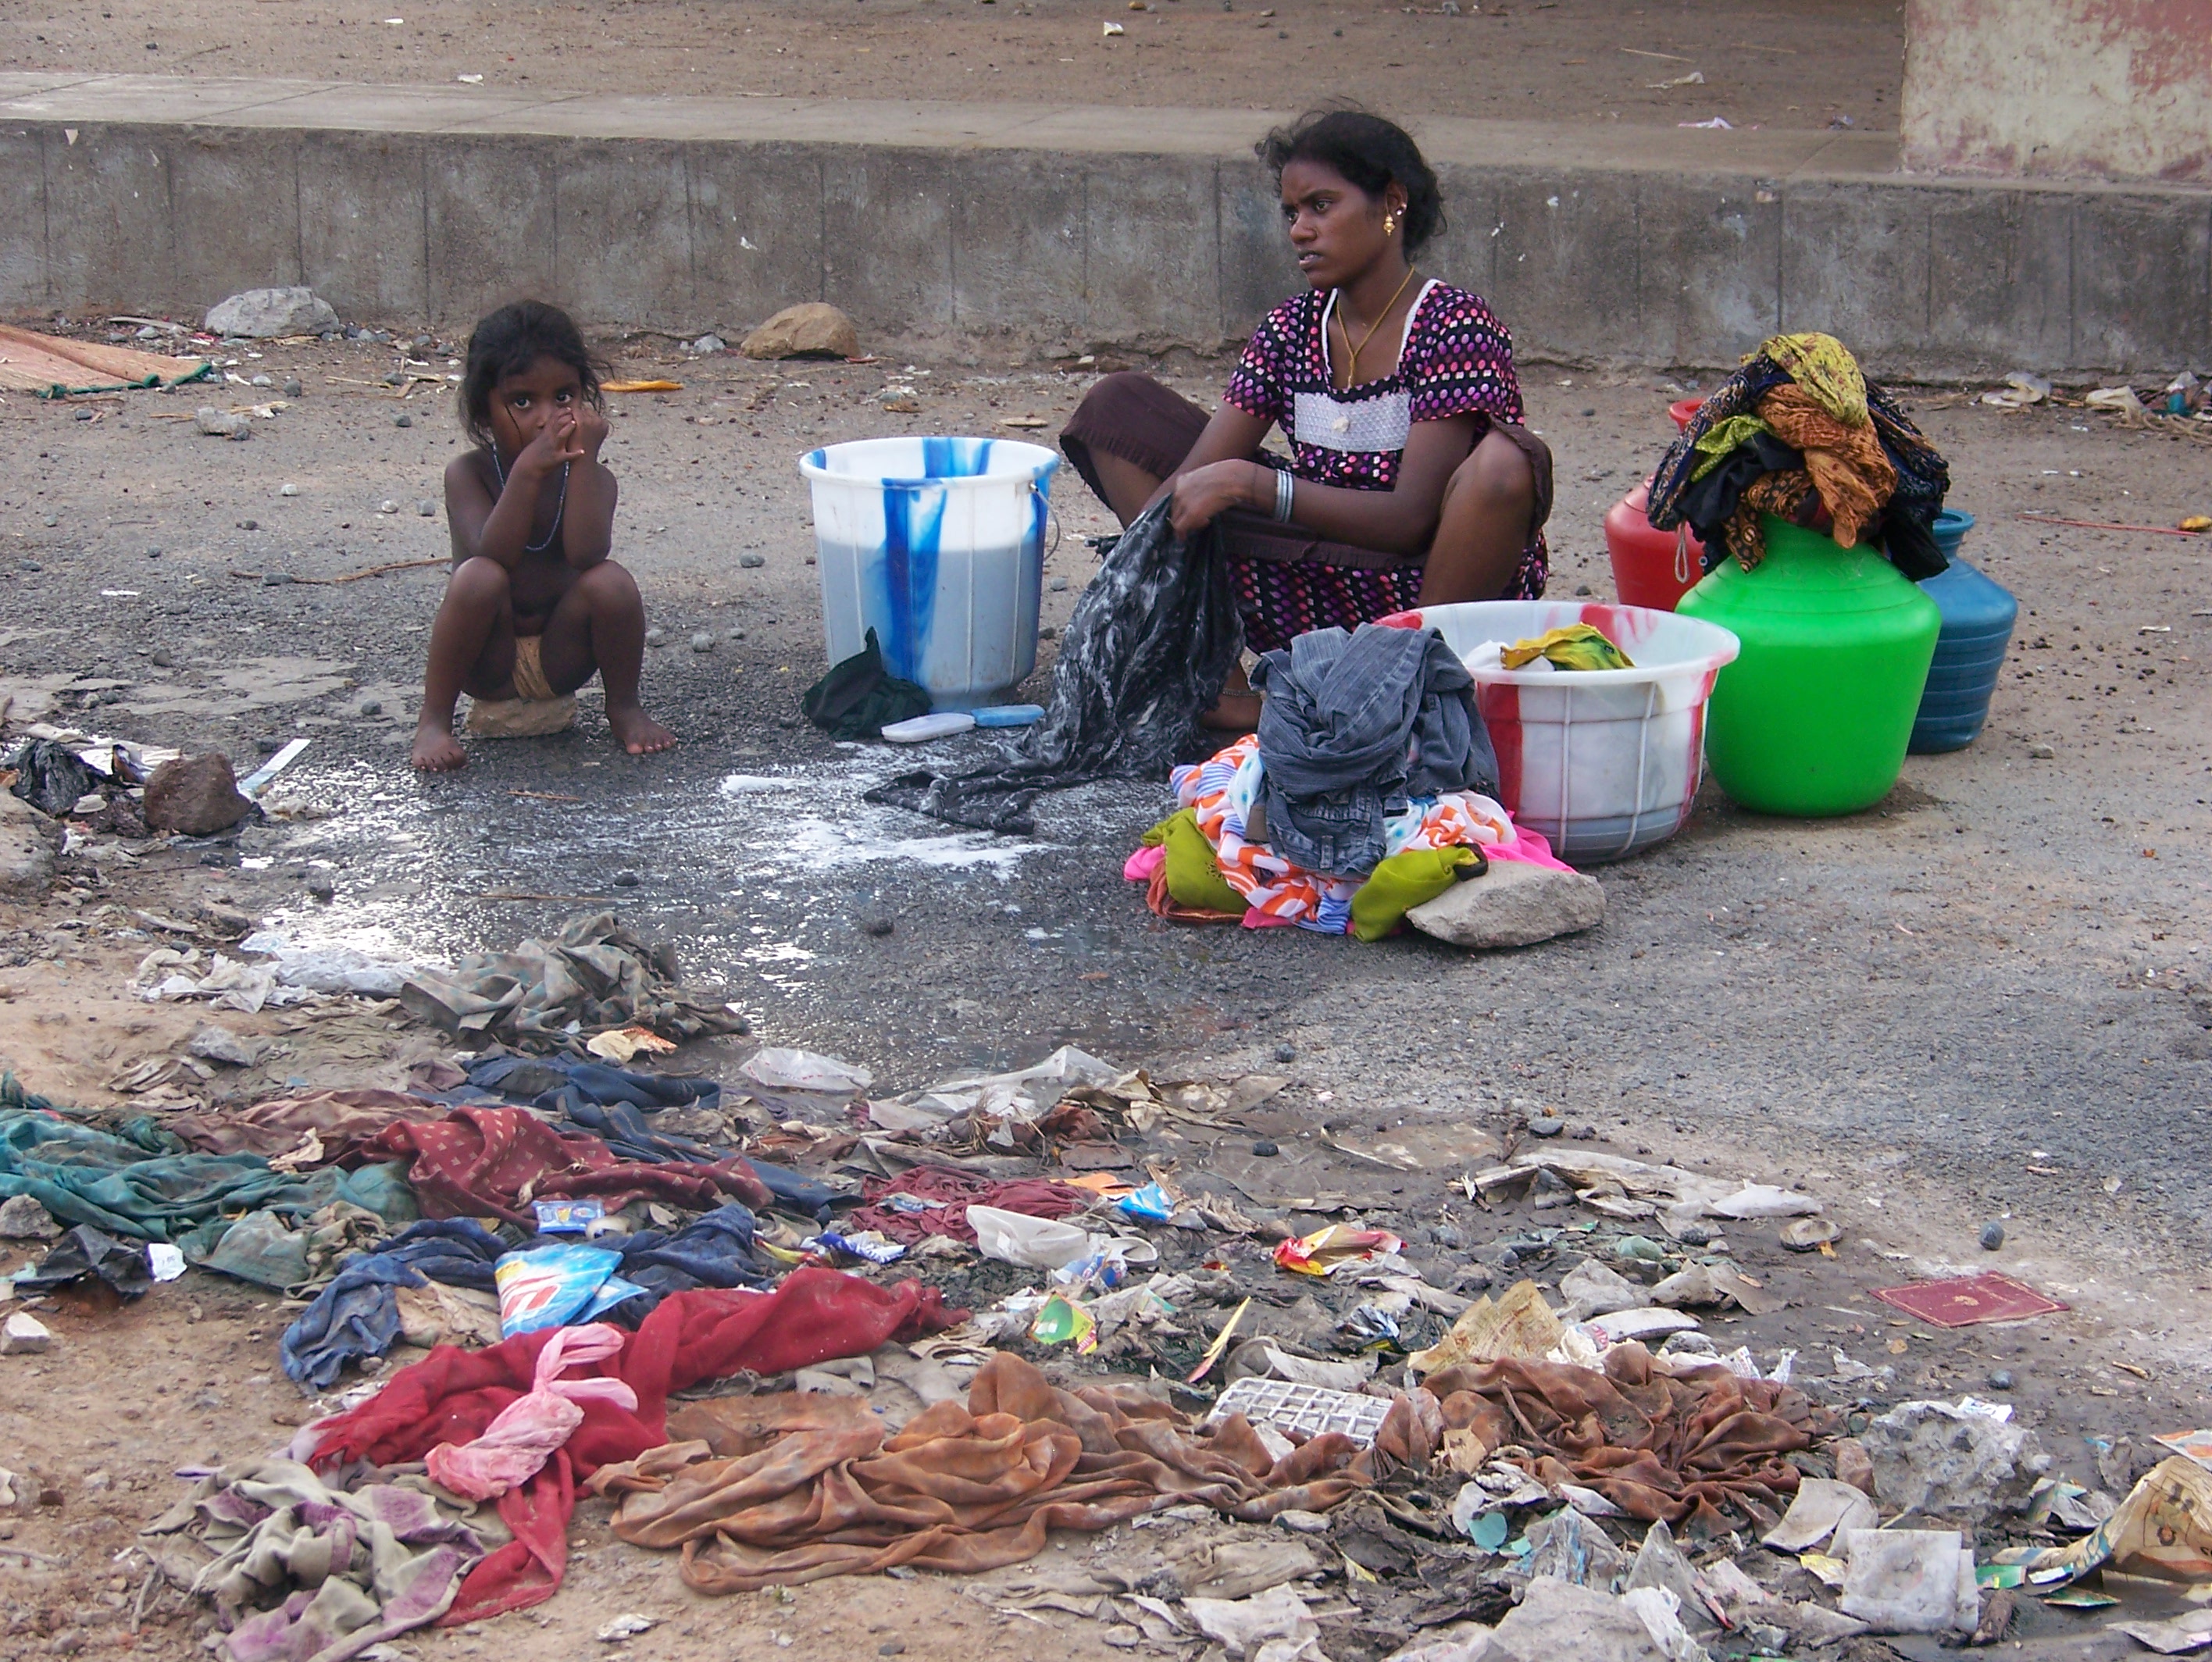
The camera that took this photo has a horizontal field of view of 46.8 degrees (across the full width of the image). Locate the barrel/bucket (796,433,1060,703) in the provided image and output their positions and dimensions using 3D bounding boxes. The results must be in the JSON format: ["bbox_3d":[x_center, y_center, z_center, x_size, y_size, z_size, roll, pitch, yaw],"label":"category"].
[{"bbox_3d":[-0.446,-0.680,6.841,0.658,0.686,0.574,-2,13,-4],"label":"barrel/bucket"}]

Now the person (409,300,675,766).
[{"bbox_3d":[-1.475,-0.744,6.465,0.614,1.147,0.457,-5,15,-10],"label":"person"}]

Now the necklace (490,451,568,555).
[{"bbox_3d":[-1.442,-0.813,6.448,0.245,0.224,0.081,-3,8,-34],"label":"necklace"}]

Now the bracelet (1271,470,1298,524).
[{"bbox_3d":[0.434,-0.803,6.207,0.061,0.118,0.149,3,6,3],"label":"bracelet"}]

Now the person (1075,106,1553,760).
[{"bbox_3d":[0.602,-1.076,6.266,0.956,1.319,0.559,0,15,7],"label":"person"}]

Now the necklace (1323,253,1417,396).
[{"bbox_3d":[0.643,-1.229,6.221,0.297,0.271,0.086,0,4,19],"label":"necklace"}]

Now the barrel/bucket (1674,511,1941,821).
[{"bbox_3d":[1.567,-0.408,6.153,0.850,0.647,0.747,5,13,29],"label":"barrel/bucket"}]

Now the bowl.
[{"bbox_3d":[0.995,-0.277,5.905,0.830,0.330,0.774,-1,10,0],"label":"bowl"}]
